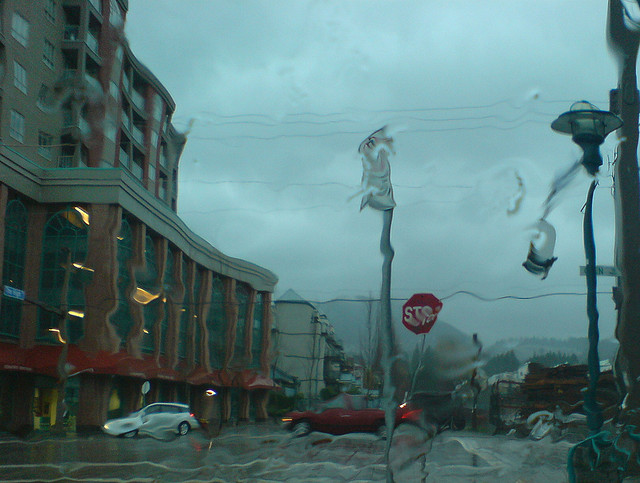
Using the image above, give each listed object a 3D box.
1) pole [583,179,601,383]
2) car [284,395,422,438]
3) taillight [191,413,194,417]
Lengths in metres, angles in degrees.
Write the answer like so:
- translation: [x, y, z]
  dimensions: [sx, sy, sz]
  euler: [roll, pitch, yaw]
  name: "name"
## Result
- translation: [4.066, 0.696, 15.133]
  dimensions: [0.257, 3.471, 0.376]
  euler: [3, -7, -4]
  name: "pole"
- translation: [0.607, 3.172, 18.125]
  dimensions: [2.369, 0.928, 1.217]
  euler: [-2, -14, 18]
  name: "car"
- translation: [-2.434, 3.253, 19.146]
  dimensions: [0.051, 0.061, 0.030]
  euler: [6, 6, -4]
  name: "taillight"
